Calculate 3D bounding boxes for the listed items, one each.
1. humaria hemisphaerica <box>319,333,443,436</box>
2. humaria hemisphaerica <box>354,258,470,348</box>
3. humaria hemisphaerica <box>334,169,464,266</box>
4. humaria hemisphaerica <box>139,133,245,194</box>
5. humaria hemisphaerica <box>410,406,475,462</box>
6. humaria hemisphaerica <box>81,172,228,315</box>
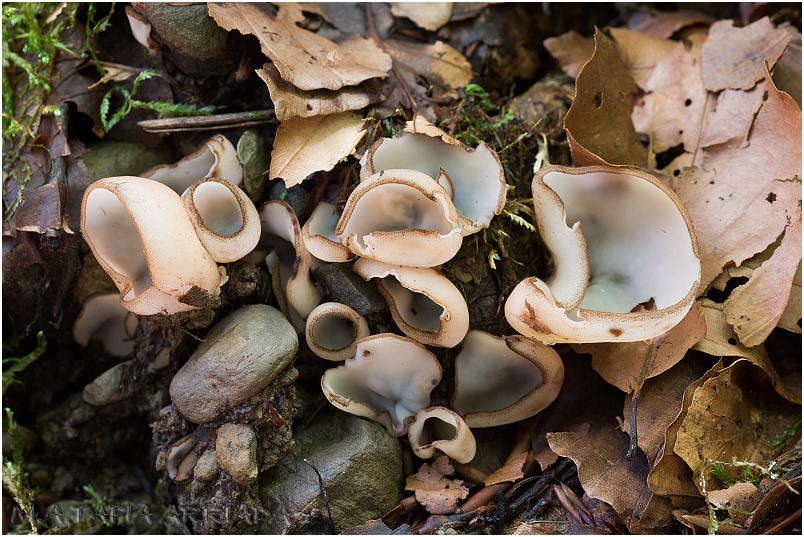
[{"bbox_3d":[-0.085,0.498,2.966,0.451,0.166,0.441,-12,54,-3],"label":"humaria hemisphaerica"},{"bbox_3d":[0.083,0.079,2.924,0.461,0.298,0.199,33,36,-7],"label":"humaria hemisphaerica"},{"bbox_3d":[-0.013,-0.114,2.817,0.457,0.227,0.426,-11,22,-15],"label":"humaria hemisphaerica"},{"bbox_3d":[-0.857,-0.425,3.020,0.365,0.164,0.227,-22,47,6],"label":"humaria hemisphaerica"},{"bbox_3d":[0.135,0.714,3.002,0.242,0.256,0.196,-4,52,4],"label":"humaria hemisphaerica"},{"bbox_3d":[-0.957,-0.074,2.748,0.551,0.429,0.253,20,30,6],"label":"humaria hemisphaerica"}]
